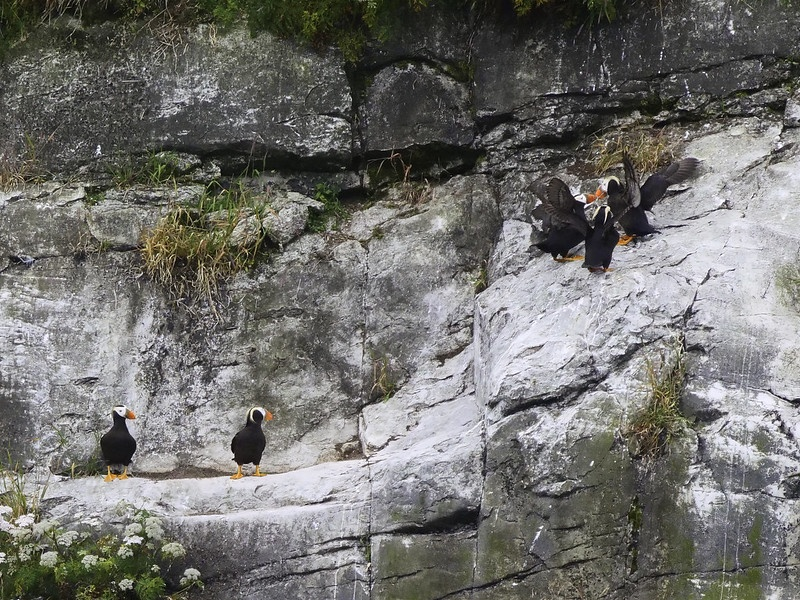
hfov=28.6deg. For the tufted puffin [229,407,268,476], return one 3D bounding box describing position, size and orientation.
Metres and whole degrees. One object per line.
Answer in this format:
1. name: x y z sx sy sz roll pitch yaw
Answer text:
1. tufted puffin: -1.317 1.255 13.864 0.380 0.619 0.289 -4 -7 -8
